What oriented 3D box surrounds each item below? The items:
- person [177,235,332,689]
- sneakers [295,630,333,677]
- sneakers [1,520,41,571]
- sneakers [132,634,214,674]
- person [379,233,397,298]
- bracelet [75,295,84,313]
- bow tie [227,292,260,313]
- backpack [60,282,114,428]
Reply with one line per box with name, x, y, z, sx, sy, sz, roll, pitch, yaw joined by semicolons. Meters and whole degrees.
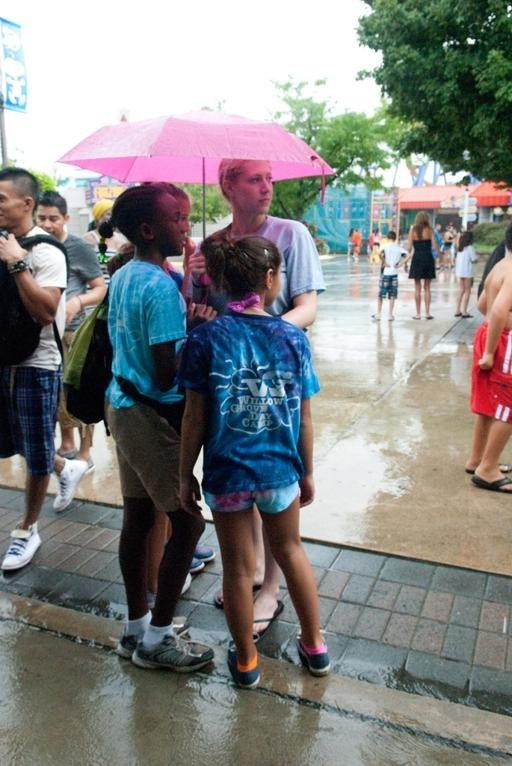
person;-0.006;0.290;1.898;0.485;1.498;0.274;-3;8;-8
sneakers;0.200;0.959;2.059;0.066;0.072;0.173;-5;6;1
sneakers;-1.196;0.850;2.968;0.101;0.119;0.292;-3;3;4
sneakers;-0.288;0.973;2.135;0.320;0.144;0.119;2;2;-3
person;2.784;-2.453;12.075;0.406;1.448;1.327;1;8;14
bracelet;-1.303;-0.572;4.219;0.041;0.099;0.090;-2;-8;25
bow tie;-0.033;-0.246;1.782;0.101;0.061;0.056;-2;8;-4
backpack;-0.671;-0.133;2.381;0.241;0.539;0.191;9;3;-34
